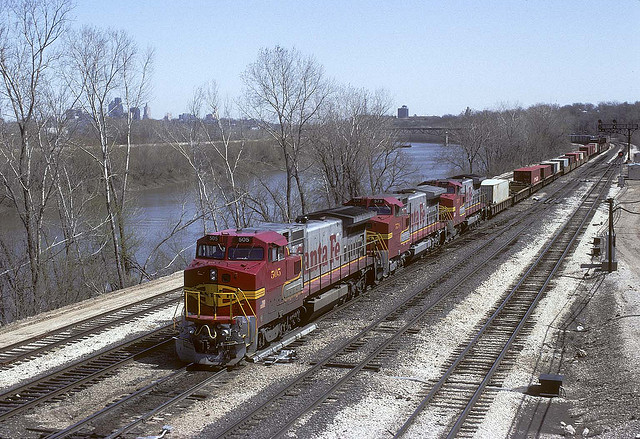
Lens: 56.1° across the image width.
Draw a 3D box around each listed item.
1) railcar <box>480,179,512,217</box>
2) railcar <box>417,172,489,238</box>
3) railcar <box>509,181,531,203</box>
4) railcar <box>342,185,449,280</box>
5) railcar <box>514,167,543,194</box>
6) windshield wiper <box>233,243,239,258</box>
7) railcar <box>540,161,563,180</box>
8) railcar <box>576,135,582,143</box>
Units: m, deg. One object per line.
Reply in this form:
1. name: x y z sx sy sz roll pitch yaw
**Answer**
1. railcar: 15.308 -1.955 52.616 1.705 2.747 5.702 5 14 39
2. railcar: 9.947 -1.445 45.004 2.758 3.766 10.188 -2 5 22
3. railcar: 20.406 -2.710 61.593 1.850 1.076 3.528 1 12 16
4. railcar: 4.926 0.368 35.389 2.511 4.040 11.804 2 8 26
5. railcar: 22.670 -4.774 65.218 1.750 2.198 3.325 -15 -13 43
6. windshield wiper: -3.185 1.167 22.306 0.055 0.529 0.097 10 -6 -2
7. railcar: 29.753 -6.465 77.456 1.669 2.141 7.702 1 12 26
8. railcar: 72.434 -22.699 168.707 0.939 1.754 18.795 5 13 22
